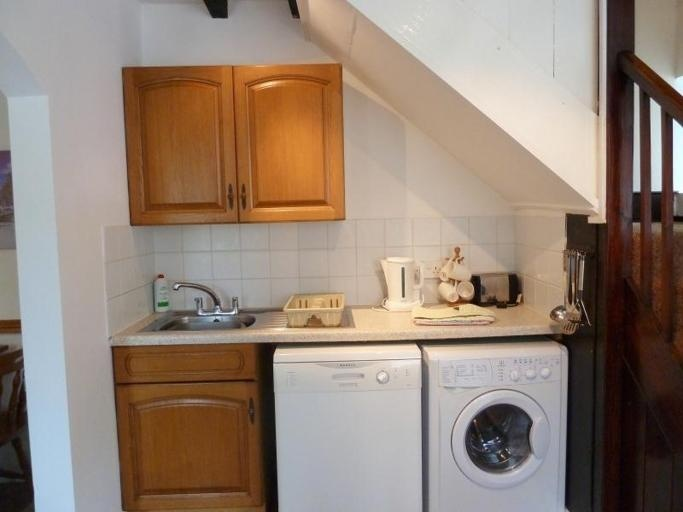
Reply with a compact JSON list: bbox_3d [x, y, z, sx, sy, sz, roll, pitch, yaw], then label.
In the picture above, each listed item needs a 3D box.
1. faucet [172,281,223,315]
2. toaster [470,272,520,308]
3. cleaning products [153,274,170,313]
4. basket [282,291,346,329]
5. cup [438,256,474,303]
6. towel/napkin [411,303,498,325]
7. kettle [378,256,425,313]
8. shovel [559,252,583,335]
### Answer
[{"bbox_3d":[-0.849,0.237,3.692,0.269,0.209,0.325,-2,-1,-12],"label":"faucet"},{"bbox_3d":[0.936,0.193,3.746,0.311,0.231,0.181,-1,2,1],"label":"toaster"},{"bbox_3d":[-1.107,0.218,3.764,0.083,0.229,0.082,-2,-1,-8],"label":"cleaning products"},{"bbox_3d":[-0.151,0.299,3.583,0.312,0.172,0.511,-3,-1,1],"label":"basket"},{"bbox_3d":[0.688,0.140,3.799,0.165,0.288,0.254,-1,-6,30],"label":"cup"},{"bbox_3d":[0.615,0.318,3.421,0.453,0.086,0.213,-3,-1,6],"label":"towel/napkin"},{"bbox_3d":[0.350,0.157,3.636,0.291,0.318,0.255,1,7,12],"label":"kettle"},{"bbox_3d":[1.192,0.177,3.211,0.142,0.376,0.092,-3,-2,34],"label":"shovel"}]
